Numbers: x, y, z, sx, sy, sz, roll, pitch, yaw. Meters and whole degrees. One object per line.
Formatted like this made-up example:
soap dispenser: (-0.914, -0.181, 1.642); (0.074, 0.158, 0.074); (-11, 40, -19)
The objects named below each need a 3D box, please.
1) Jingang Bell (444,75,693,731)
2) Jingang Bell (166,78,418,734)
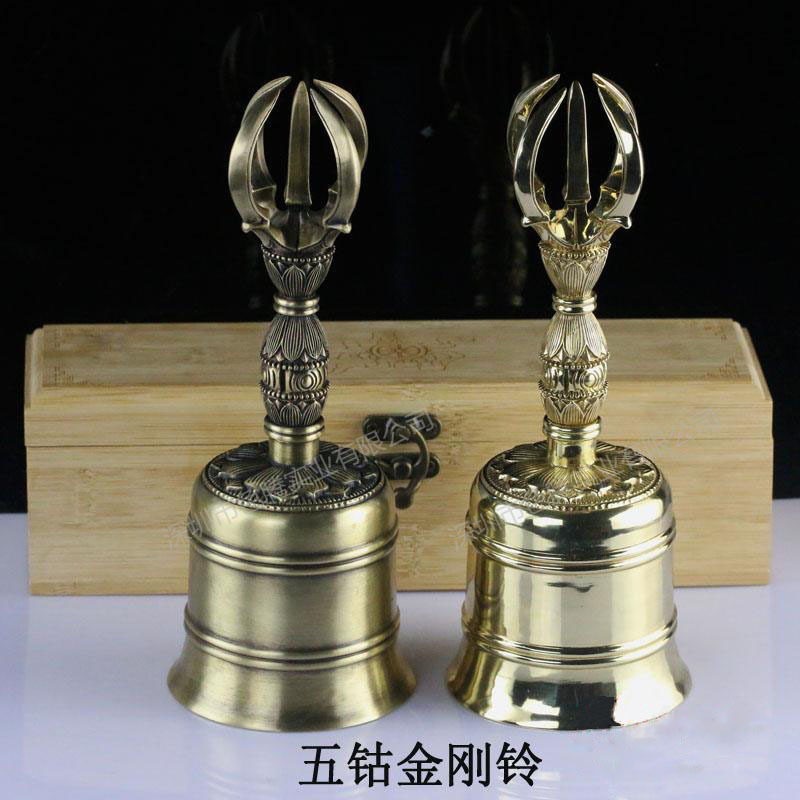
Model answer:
Jingang Bell: (0.132, 0.004, 1.092); (0.194, 0.508, 0.132); (-8, 12, -23)
Jingang Bell: (-0.103, 0.003, 1.104); (0.200, 0.502, 0.190); (-6, 11, -12)
